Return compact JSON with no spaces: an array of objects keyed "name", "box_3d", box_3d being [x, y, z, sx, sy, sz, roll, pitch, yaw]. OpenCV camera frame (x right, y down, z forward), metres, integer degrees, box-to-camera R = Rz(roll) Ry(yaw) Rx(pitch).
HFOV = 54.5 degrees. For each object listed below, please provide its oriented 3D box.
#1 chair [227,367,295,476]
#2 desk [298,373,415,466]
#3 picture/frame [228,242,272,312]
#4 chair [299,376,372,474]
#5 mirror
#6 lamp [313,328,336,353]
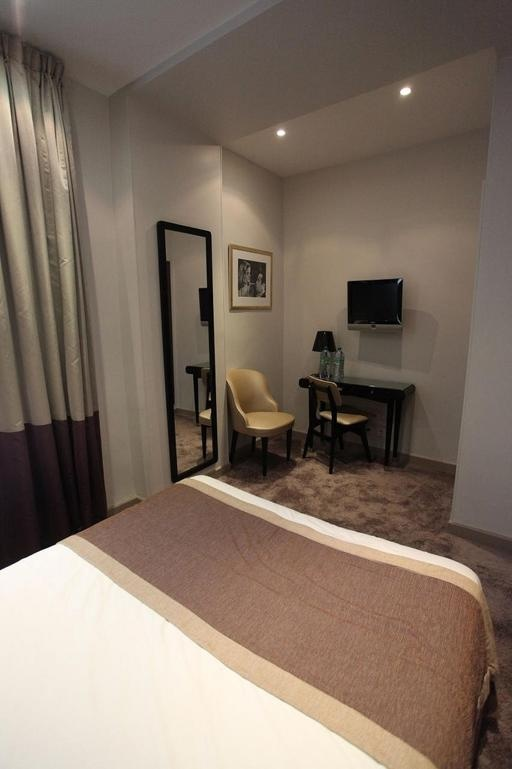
[{"name":"chair","box_3d":[0.018,0.270,3.742,0.413,0.797,0.455,-1,9,27]},{"name":"desk","box_3d":[0.904,0.274,3.839,0.584,0.646,0.359,10,16,40]},{"name":"picture/frame","box_3d":[-0.042,-0.840,3.933,0.073,0.519,0.688,4,15,24]},{"name":"chair","box_3d":[0.637,0.213,3.856,0.406,0.844,0.438,4,10,22]},{"name":"mirror","box_3d":[-0.418,-0.176,3.140,0.059,1.630,0.539,5,13,27]},{"name":"lamp","box_3d":[0.555,-0.363,4.072,0.130,0.188,0.161,-1,4,-10]}]
